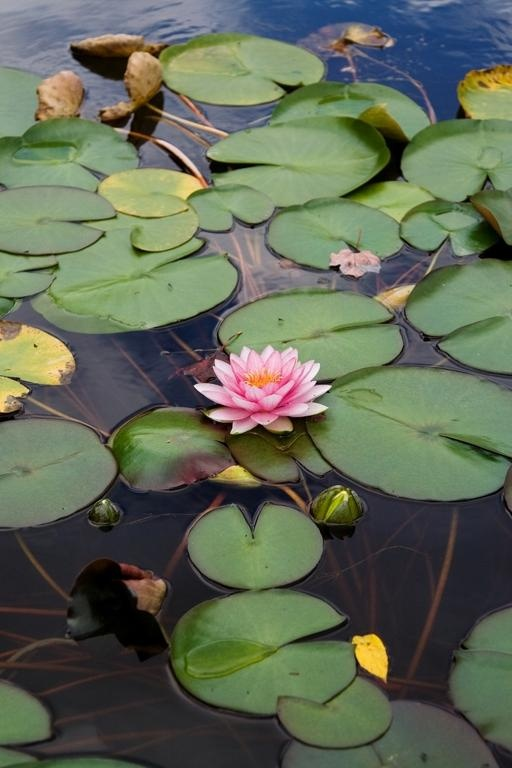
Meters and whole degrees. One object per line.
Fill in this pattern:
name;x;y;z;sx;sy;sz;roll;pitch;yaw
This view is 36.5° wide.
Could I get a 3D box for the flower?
flower;0.014;0.010;1.851;0.253;0.092;0.248;-33;47;-30
